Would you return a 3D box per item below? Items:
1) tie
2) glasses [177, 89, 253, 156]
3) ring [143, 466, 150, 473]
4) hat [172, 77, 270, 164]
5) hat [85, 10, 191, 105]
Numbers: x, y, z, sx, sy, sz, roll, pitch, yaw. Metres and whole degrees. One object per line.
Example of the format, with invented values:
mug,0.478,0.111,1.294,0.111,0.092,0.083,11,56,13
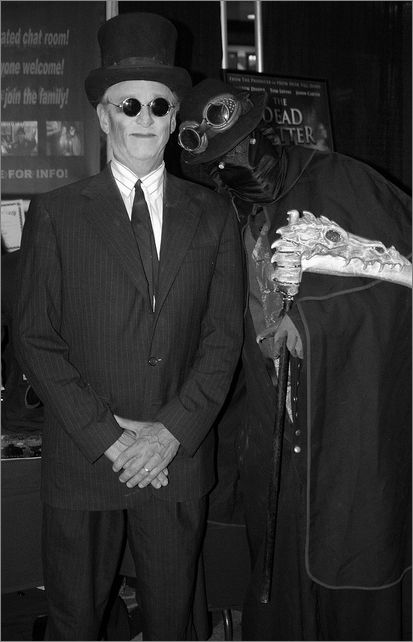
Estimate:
tie,-0.153,-0.194,1.571,0.055,0.342,0.026,-8,-9,-6
glasses,0.022,-0.524,1.779,0.202,0.120,0.089,-32,1,20
ring,-0.140,0.349,1.504,0.013,0.016,0.006,-6,11,-25
hat,0.049,-0.526,1.756,0.208,0.085,0.236,-4,49,48
hat,-0.173,-0.628,1.691,0.185,0.142,0.266,-2,-19,-5
